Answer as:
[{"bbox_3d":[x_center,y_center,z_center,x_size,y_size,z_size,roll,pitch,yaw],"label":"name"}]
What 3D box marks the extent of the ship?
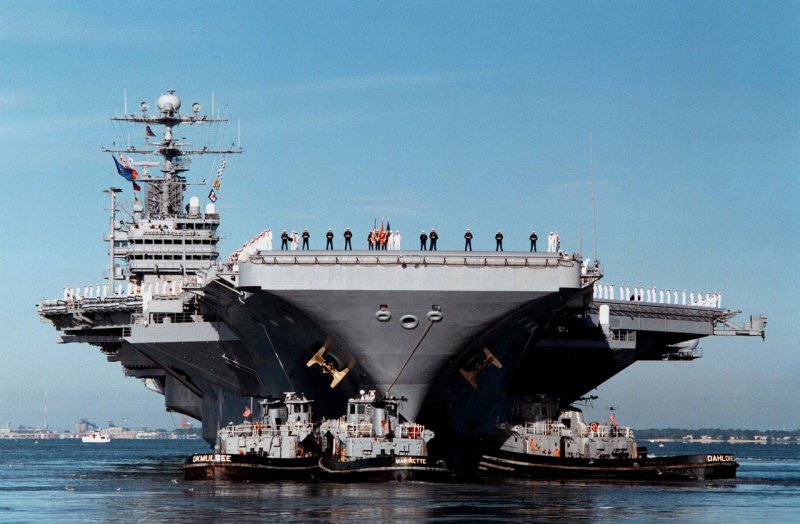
[{"bbox_3d":[0.310,2.165,105.473,22.570,10.310,25.287,1,2,12],"label":"ship"}]
